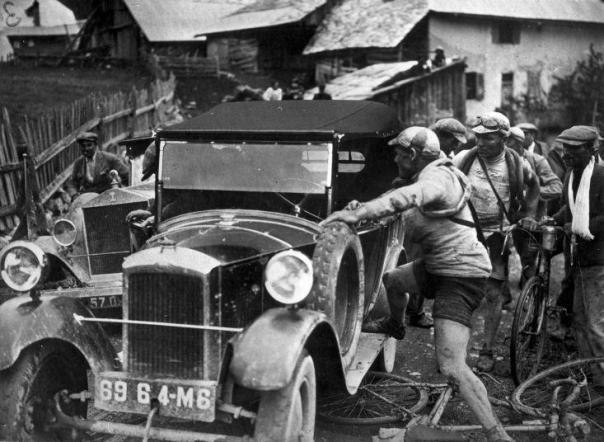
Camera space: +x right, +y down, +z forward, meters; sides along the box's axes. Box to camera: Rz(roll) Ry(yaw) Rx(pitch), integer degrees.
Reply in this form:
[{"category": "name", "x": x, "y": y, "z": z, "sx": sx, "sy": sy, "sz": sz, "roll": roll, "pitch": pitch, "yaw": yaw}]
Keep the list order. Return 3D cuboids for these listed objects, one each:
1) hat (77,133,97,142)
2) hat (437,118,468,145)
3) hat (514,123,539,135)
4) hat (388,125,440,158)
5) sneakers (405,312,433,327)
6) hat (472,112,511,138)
[{"category": "hat", "x": -2.972, "y": -1.159, "z": 11.620, "sx": 0.166, "sy": 0.085, "sz": 0.211, "roll": 0, "pitch": 2, "yaw": 4}, {"category": "hat", "x": 1.797, "y": -1.082, "z": 9.848, "sx": 0.327, "sy": 0.207, "sz": 0.244, "roll": 21, "pitch": 7, "yaw": -9}, {"category": "hat", "x": 3.342, "y": -1.365, "z": 12.277, "sx": 0.325, "sy": 0.111, "sz": 0.285, "roll": 0, "pitch": 4, "yaw": -42}, {"category": "hat", "x": 1.101, "y": -0.746, "z": 7.864, "sx": 0.329, "sy": 0.193, "sz": 0.253, "roll": 9, "pitch": 7, "yaw": 15}, {"category": "sneakers", "x": 1.508, "y": 1.211, "z": 10.537, "sx": 0.306, "sy": 0.235, "sz": 0.178, "roll": 7, "pitch": 12, "yaw": -18}, {"category": "hat", "x": 2.118, "y": -1.049, "z": 9.215, "sx": 0.348, "sy": 0.208, "sz": 0.258, "roll": 9, "pitch": -1, "yaw": -34}]
